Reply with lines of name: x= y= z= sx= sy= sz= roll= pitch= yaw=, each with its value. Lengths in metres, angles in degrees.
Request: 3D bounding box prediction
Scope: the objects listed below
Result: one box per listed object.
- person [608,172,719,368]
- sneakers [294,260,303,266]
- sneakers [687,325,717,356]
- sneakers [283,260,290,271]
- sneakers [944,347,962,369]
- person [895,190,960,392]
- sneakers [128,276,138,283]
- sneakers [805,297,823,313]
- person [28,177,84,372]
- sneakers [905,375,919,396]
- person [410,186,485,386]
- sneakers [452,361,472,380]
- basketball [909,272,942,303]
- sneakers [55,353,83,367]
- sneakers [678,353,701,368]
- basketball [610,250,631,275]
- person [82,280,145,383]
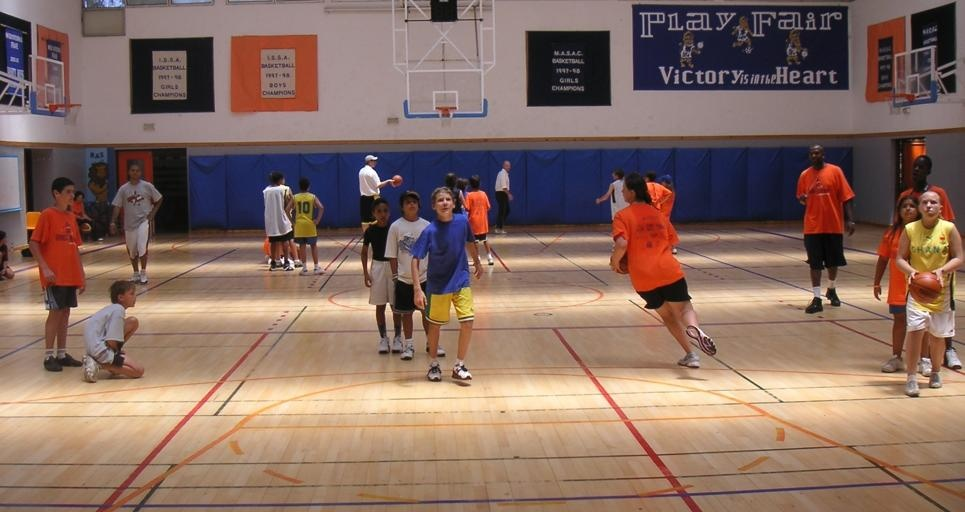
person: x=2.684 y=0.206 z=10.270 sx=1.457 sy=2.882 sz=0.902 roll=1 pitch=11 yaw=16
sneakers: x=-4.715 y=0.180 z=17.539 sx=0.174 sy=0.190 sz=0.499 roll=-1 pitch=-2 yaw=-31
sneakers: x=3.286 y=1.278 z=10.387 sx=0.258 sy=0.490 sz=0.216 roll=-44 pitch=-11 yaw=-28
sneakers: x=-4.820 y=0.229 z=16.859 sx=0.224 sy=0.246 sz=0.596 roll=1 pitch=-5 yaw=-16
sneakers: x=6.883 y=1.494 z=10.042 sx=0.161 sy=0.170 sz=0.444 roll=-2 pitch=5 yaw=9
person: x=6.019 y=0.498 z=9.382 sx=0.964 sy=2.705 sz=0.686 roll=-10 pitch=13 yaw=-36
sneakers: x=-7.511 y=0.494 z=14.763 sx=0.183 sy=0.095 sz=0.187 roll=0 pitch=2 yaw=7
sneakers: x=5.996 y=0.891 z=12.459 sx=0.392 sy=0.253 sz=0.208 roll=-1 pitch=2 yaw=-2
person: x=-6.493 y=0.260 z=10.501 sx=0.738 sy=2.855 sz=0.704 roll=-8 pitch=12 yaw=-30
sneakers: x=5.864 y=1.730 z=9.387 sx=0.168 sy=0.286 sz=0.357 roll=4 pitch=12 yaw=31
person: x=-0.573 y=0.421 z=9.881 sx=0.876 sy=2.762 sz=0.441 roll=-3 pitch=11 yaw=-3
sneakers: x=-0.234 y=1.674 z=9.965 sx=0.364 sy=0.237 sz=0.170 roll=-2 pitch=-2 yaw=38
basketball: x=5.865 y=0.396 z=9.137 sx=0.372 sy=0.356 sz=0.379 roll=0 pitch=9 yaw=40
sneakers: x=-6.349 y=1.589 z=10.586 sx=0.403 sy=0.151 sz=0.142 roll=3 pitch=5 yaw=-2
sneakers: x=3.090 y=1.550 z=10.351 sx=0.159 sy=0.160 sz=0.359 roll=1 pitch=4 yaw=-2
basketball: x=2.025 y=0.111 z=10.194 sx=0.226 sy=0.232 sz=0.275 roll=-6 pitch=3 yaw=1
person: x=-5.483 y=1.096 z=10.077 sx=0.784 sy=1.406 sz=0.411 roll=-7 pitch=12 yaw=-25
